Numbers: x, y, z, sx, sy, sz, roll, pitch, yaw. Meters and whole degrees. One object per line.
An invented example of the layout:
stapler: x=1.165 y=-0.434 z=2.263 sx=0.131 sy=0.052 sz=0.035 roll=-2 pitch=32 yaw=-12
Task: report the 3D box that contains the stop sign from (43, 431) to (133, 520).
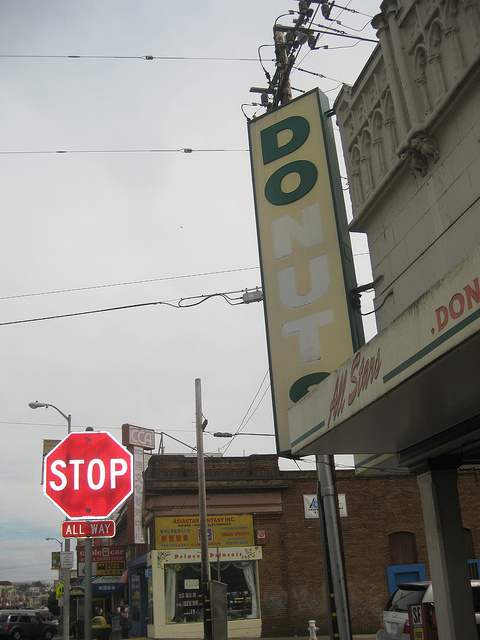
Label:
stop sign: x=-2.216 y=2.244 z=12.559 sx=1.333 sy=1.362 sz=0.124 roll=0 pitch=7 yaw=-8
